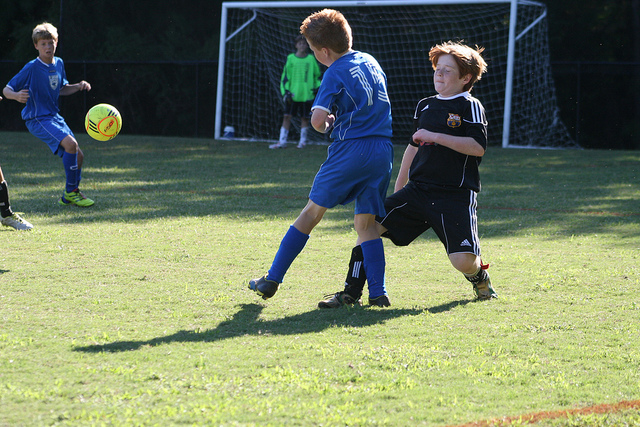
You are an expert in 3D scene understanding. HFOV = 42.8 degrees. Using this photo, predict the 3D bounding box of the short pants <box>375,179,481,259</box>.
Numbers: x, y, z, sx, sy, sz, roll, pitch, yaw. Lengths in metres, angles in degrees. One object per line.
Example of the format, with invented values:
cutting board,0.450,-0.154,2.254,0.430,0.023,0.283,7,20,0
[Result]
short pants,0.909,0.029,6.938,0.879,0.585,0.369,3,14,9

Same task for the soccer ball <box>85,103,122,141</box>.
soccer ball,-2.519,-1.056,9.532,0.354,0.417,0.264,-2,14,-8

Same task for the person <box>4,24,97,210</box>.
person,-3.178,-1.163,9.668,0.908,2.079,0.821,-4,14,-15

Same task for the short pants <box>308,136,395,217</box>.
short pants,0.255,-0.304,6.831,0.672,0.697,0.309,0,14,1

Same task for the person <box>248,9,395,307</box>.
person,0.116,-0.463,6.812,0.979,2.391,0.748,1,14,3
